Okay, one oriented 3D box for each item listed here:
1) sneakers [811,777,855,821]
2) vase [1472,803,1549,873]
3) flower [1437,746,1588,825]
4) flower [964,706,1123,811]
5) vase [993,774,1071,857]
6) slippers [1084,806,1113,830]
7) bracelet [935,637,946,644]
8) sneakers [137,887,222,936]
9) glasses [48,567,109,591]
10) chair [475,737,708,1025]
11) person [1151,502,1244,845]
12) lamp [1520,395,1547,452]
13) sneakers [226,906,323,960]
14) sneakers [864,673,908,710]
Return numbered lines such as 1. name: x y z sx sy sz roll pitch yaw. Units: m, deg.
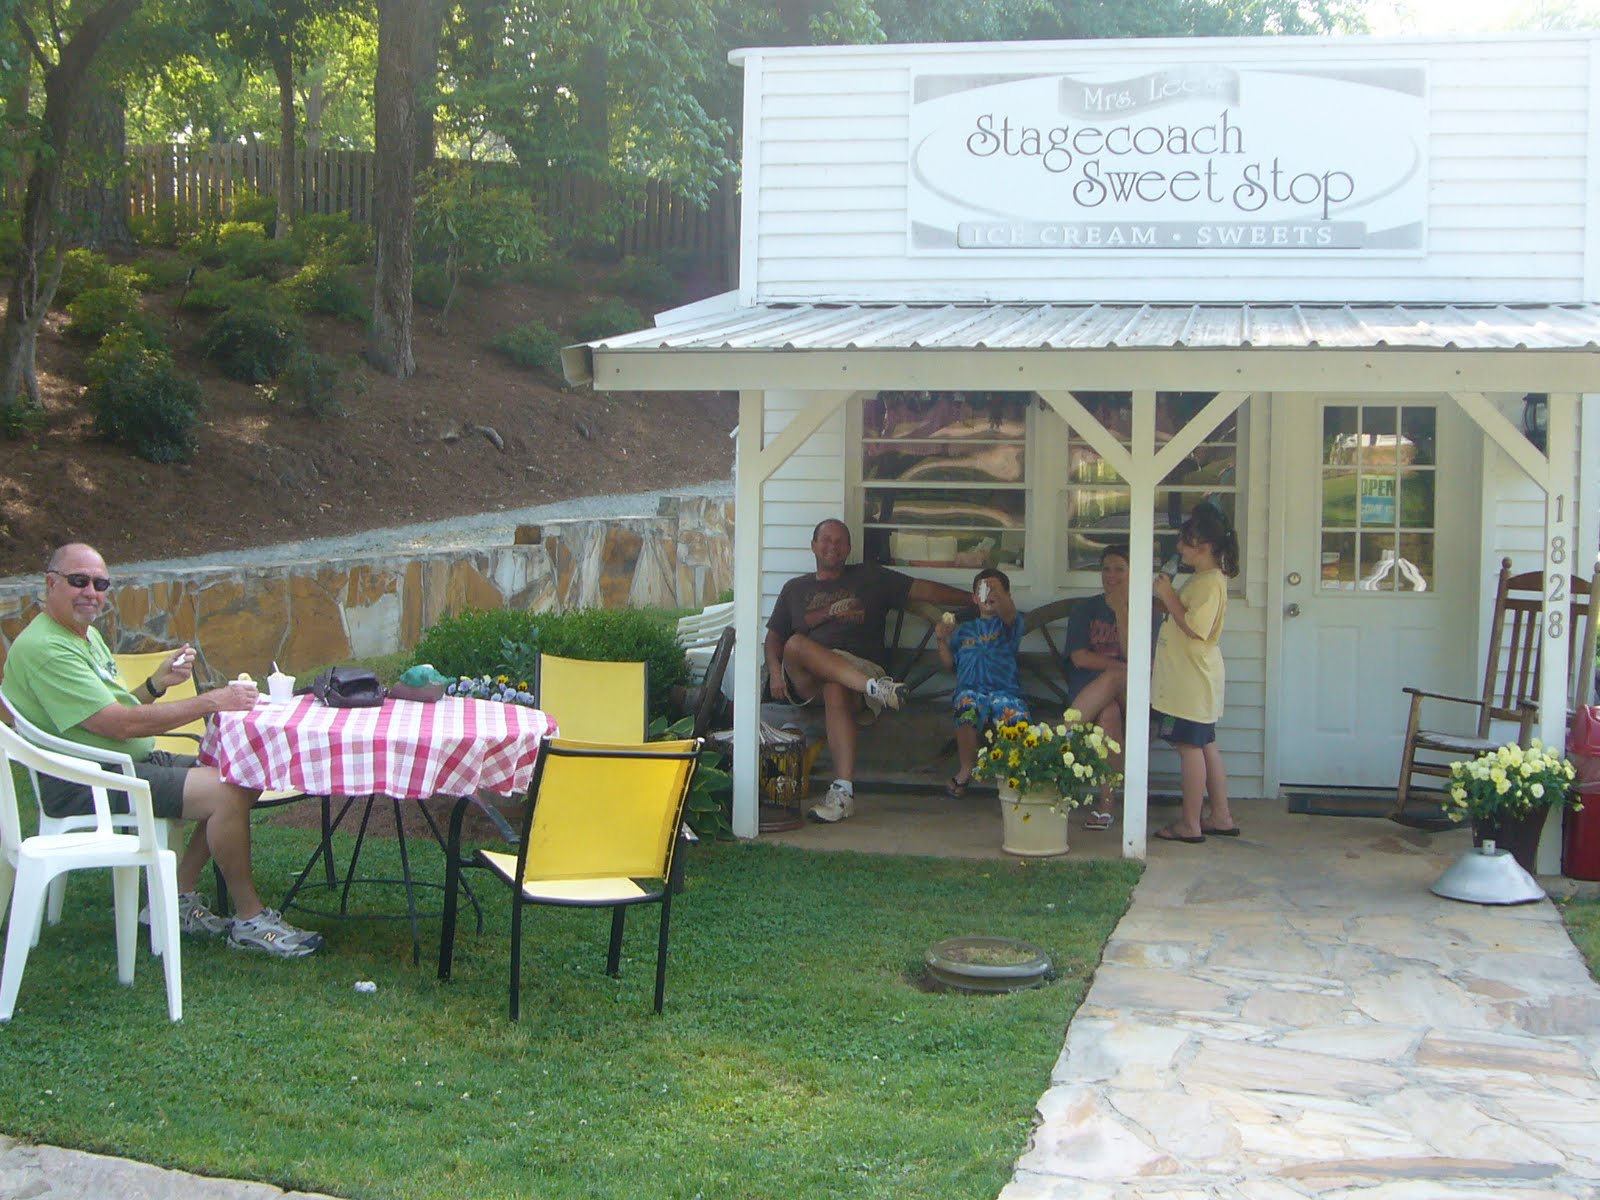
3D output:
1. sneakers: 0.224 1.299 11.678 0.328 0.253 0.210 -9 14 -41
2. vase: 4.116 1.359 10.187 0.368 0.416 0.387 0 -4 0
3. flower: 3.999 1.127 10.246 0.555 0.381 0.598 13 -11 -9
4. flower: 1.556 0.928 10.726 0.720 0.486 0.788 -9 14 -39
5. vase: 1.432 1.330 10.829 0.405 0.397 0.436 1 -1 -11
6. slippers: 1.946 1.417 11.573 0.137 0.100 0.358 0 -1 1
7. bracelet: 0.956 0.266 11.997 0.050 0.039 0.053 1 3 32
8. sneakers: -3.161 1.599 9.104 0.498 0.221 0.180 2 3 0
9. glasses: -3.548 -0.090 8.750 0.069 0.121 0.240 10 14 42
10. chair: -0.971 1.363 8.515 0.894 1.260 0.977 3 -14 -1
11. person: 2.524 0.467 11.204 0.596 2.062 0.506 0 11 -4
12. lamp: 5.020 -1.213 11.990 0.191 0.358 0.198 -5 12 -29
13. sneakers: -2.623 1.650 8.824 0.416 0.173 0.209 2 3 4
14. sneakers: 0.558 0.612 11.894 0.265 0.223 0.294 4 11 16
